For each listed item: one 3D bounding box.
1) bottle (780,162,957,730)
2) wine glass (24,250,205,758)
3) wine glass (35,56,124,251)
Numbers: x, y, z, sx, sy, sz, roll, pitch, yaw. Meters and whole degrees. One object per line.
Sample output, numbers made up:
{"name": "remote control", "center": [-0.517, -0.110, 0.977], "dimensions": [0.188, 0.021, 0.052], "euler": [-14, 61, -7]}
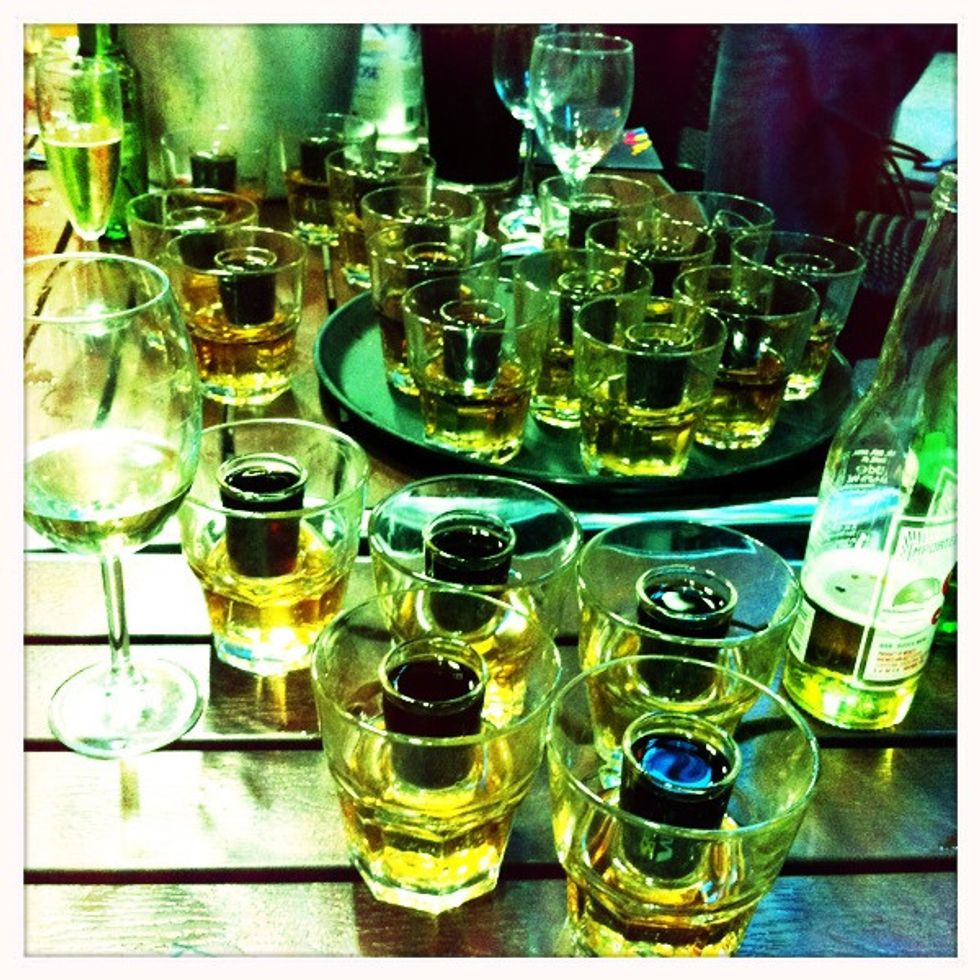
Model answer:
{"name": "bottle", "center": [0.297, -0.022, 0.701], "dimensions": [0.098, 0.402, 0.141], "euler": [12, 30, 17]}
{"name": "wine glass", "center": [-0.286, -0.015, 0.741], "dimensions": [0.135, 0.315, 0.289], "euler": [-7, 30, -16]}
{"name": "wine glass", "center": [-0.567, -0.462, 1.375], "dimensions": [0.108, 0.259, 0.307], "euler": [-9, 30, -19]}
